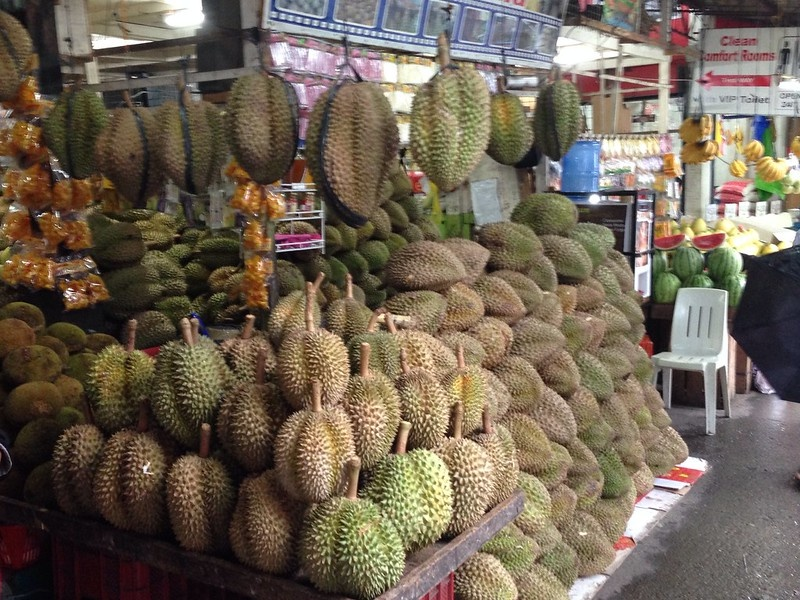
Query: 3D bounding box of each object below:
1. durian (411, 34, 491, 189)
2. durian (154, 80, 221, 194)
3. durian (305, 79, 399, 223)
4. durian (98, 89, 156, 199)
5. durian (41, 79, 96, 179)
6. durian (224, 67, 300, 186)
[{"bbox_3d":[0.219,-0.710,2.560,0.349,0.582,0.364,2,14,28],"label":"durian"},{"bbox_3d":[-0.805,-0.625,2.432,0.240,0.415,0.149,-6,12,-17],"label":"durian"},{"bbox_3d":[-0.159,-0.549,2.309,0.389,0.494,0.239,4,1,-38],"label":"durian"},{"bbox_3d":[-1.025,-0.574,2.369,0.216,0.333,0.168,0,-5,37],"label":"durian"},{"bbox_3d":[-1.287,-0.675,2.534,0.333,0.358,0.156,7,15,39],"label":"durian"},{"bbox_3d":[-0.488,-0.641,2.397,0.298,0.353,0.186,-4,0,19],"label":"durian"}]
